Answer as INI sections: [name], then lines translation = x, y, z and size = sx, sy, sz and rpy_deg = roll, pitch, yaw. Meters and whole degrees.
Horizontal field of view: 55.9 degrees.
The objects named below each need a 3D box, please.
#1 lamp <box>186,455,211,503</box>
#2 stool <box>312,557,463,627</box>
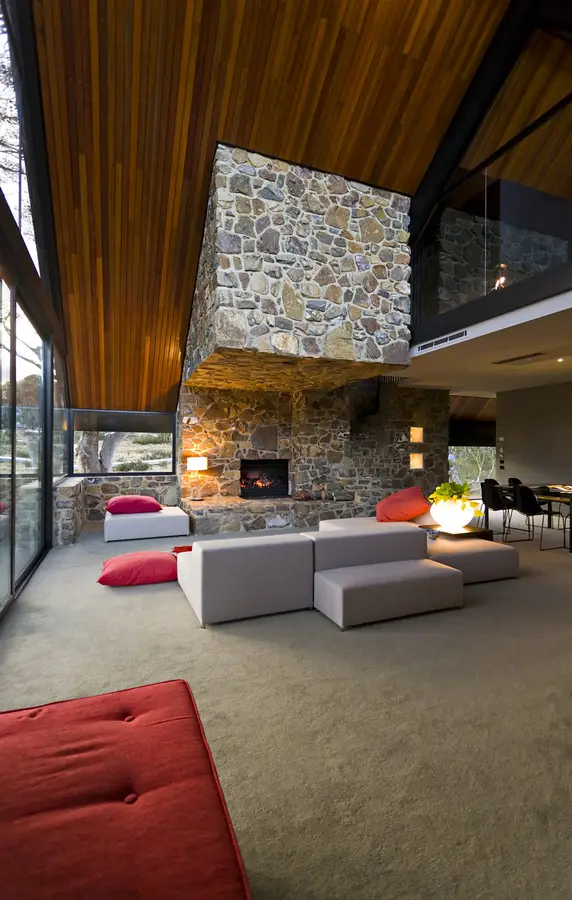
[lamp]
translation = -1.410, 0.440, 8.315
size = 0.353, 0.638, 0.567
rpy_deg = 1, 0, -9
[stool]
translation = 0.737, 1.022, 3.882
size = 1.016, 0.313, 0.431
rpy_deg = 0, 0, -23
